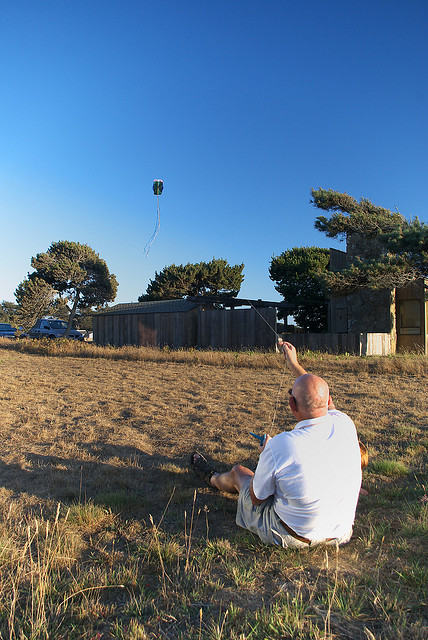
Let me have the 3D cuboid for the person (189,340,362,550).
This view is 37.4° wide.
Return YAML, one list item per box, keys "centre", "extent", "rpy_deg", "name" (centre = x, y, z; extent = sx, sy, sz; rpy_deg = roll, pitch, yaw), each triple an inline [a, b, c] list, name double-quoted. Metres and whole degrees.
- centre: [0.332, 0.713, 3.790]
  extent: [0.580, 1.109, 1.197]
  rpy_deg: [6, 8, -20]
  name: "person"

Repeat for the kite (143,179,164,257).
- centre: [-0.467, -0.835, 5.022]
  extent: [0.086, 0.556, 0.094]
  rpy_deg: [8, 12, 3]
  name: "kite"
